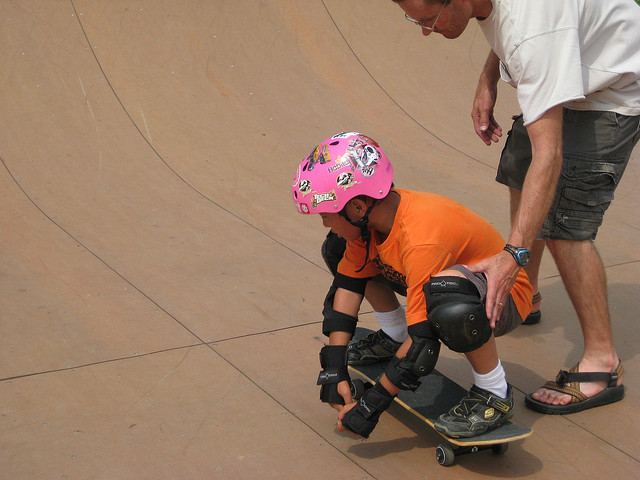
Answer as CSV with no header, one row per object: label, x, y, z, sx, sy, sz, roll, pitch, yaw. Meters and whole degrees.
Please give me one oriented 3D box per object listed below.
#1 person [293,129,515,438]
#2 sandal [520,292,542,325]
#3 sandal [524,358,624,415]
person,0.489,0.219,3.945,1.124,1.496,1.436,-13,17,-28
sandal,1.330,0.439,4.667,0.121,0.096,0.252,7,14,33
sandal,1.392,0.794,4.075,0.499,0.213,0.238,-6,8,-8
